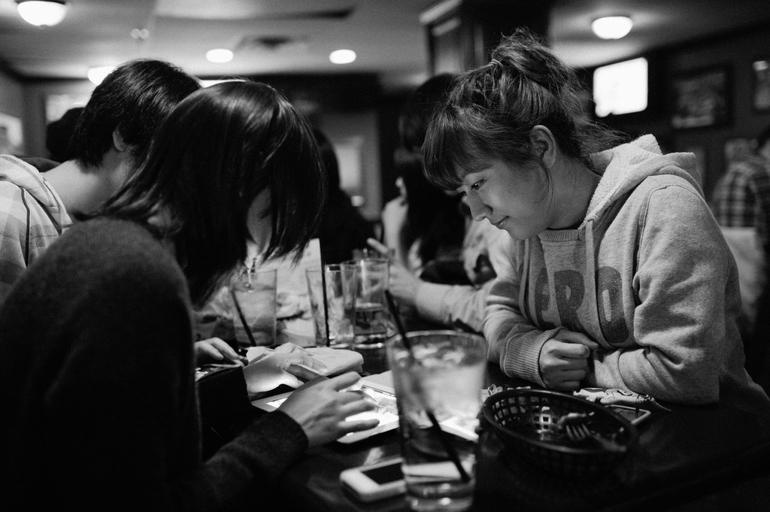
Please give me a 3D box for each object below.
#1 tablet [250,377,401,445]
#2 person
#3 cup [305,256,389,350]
[{"bbox_3d":[-0.045,0.333,1.385,0.208,0.052,0.136,-10,7,-37],"label":"tablet"},{"bbox_3d":[0.079,-0.067,1.701,1.715,0.960,0.892,-5,6,-8],"label":"person"},{"bbox_3d":[-0.094,0.137,1.849,0.235,0.248,0.259,-5,-7,-5],"label":"cup"}]
